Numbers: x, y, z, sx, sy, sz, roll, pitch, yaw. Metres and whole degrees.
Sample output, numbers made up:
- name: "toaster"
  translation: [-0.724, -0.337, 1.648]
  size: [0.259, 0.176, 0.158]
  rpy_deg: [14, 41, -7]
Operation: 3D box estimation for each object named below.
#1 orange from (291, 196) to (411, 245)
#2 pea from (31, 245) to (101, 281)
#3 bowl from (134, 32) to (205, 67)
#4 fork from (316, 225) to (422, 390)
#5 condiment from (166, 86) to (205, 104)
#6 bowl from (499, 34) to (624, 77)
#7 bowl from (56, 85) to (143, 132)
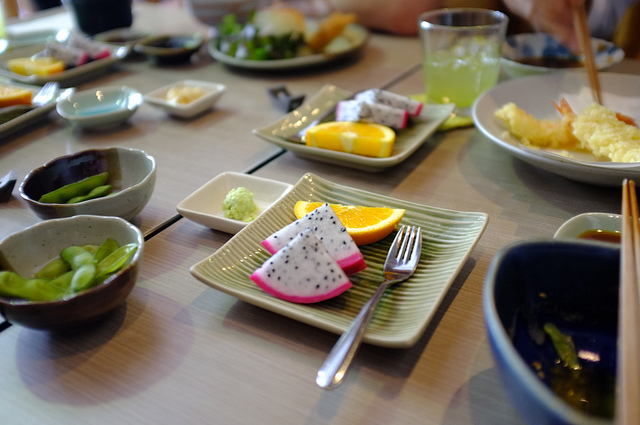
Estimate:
- name: "orange"
  translation: [0.084, 0.003, 0.925]
  size: [0.192, 0.073, 0.094]
  rpy_deg: [2, 20, 4]
- name: "pea"
  translation: [-0.449, 0.080, 0.855]
  size: [0.052, 0.018, 0.081]
  rpy_deg: [11, 12, -40]
- name: "bowl"
  translation: [-0.635, -0.675, 1.906]
  size: [0.141, 0.053, 0.127]
  rpy_deg: [-12, -4, 23]
- name: "fork"
  translation: [0.139, 0.086, 0.882]
  size: [0.075, 0.064, 0.548]
  rpy_deg: [11, 49, 24]
- name: "condiment"
  translation: [-0.428, -0.373, 1.456]
  size: [0.087, 0.030, 0.078]
  rpy_deg: [12, 34, 28]
- name: "bowl"
  translation: [0.762, -0.471, 1.552]
  size: [0.303, 0.081, 0.295]
  rpy_deg: [7, 3, 0]
- name: "bowl"
  translation: [-0.672, -0.365, 1.446]
  size: [0.304, 0.132, 0.218]
  rpy_deg: [-19, 28, -28]
